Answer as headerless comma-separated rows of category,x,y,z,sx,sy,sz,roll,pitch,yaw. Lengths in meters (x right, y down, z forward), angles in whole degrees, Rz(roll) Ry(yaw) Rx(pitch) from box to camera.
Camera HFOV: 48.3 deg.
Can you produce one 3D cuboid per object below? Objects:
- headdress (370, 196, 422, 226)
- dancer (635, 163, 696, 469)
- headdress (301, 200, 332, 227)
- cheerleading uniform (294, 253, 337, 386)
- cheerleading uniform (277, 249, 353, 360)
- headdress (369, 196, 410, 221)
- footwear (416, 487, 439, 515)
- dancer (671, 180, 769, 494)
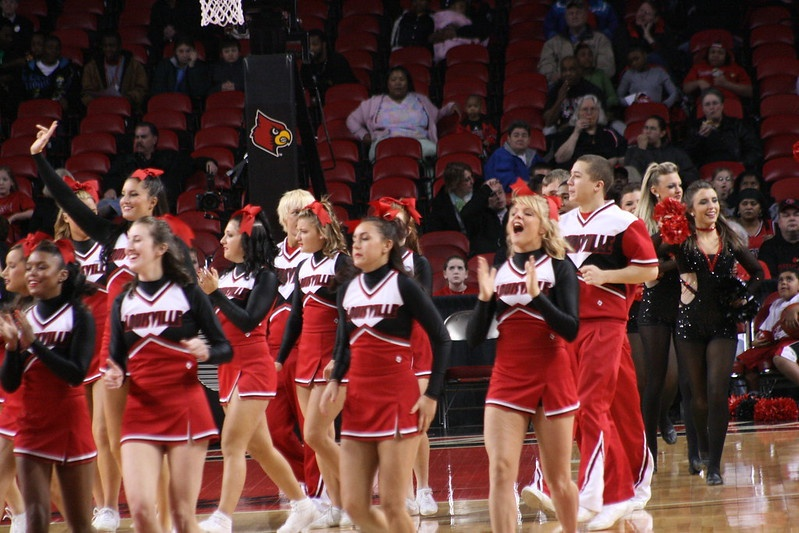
headdress,-0.049,-0.473,6.805,0.274,0.102,0.279,6,-5,20
dancer,2.317,0.426,8.149,0.702,2.668,0.745,2,0,4
headdress,-0.638,-0.427,7.119,0.054,0.192,0.193,-43,-38,16
cheerleading uniform,-0.666,0.414,7.155,0.291,1.133,0.272,0,-1,0
cheerleading uniform,-0.639,0.268,7.256,0.485,0.996,0.629,0,-1,3
headdress,-0.065,-0.412,6.568,0.242,0.088,0.234,-5,15,-42
footwear,0.235,1.963,7.440,0.109,0.111,0.279,-3,2,-18
dancer,2.592,0.532,7.605,0.980,2.574,1.503,-2,-5,35
